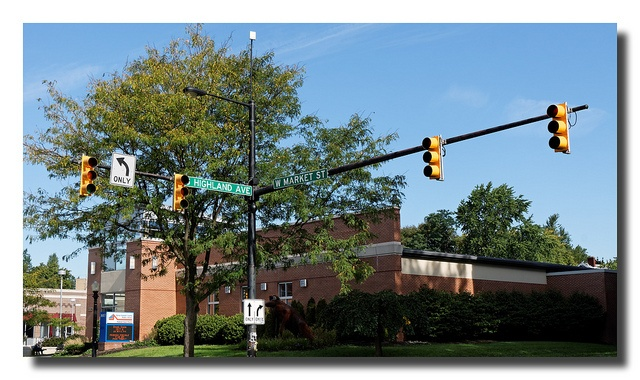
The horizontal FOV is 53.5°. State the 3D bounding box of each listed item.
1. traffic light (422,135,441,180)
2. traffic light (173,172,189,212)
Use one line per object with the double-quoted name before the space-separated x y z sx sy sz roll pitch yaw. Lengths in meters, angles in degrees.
"traffic light" 5.640 -1.519 31.540 1.041 2.343 1.066 -7 -17 12
"traffic light" -7.349 0.065 33.707 0.757 1.967 0.760 1 -18 -16
